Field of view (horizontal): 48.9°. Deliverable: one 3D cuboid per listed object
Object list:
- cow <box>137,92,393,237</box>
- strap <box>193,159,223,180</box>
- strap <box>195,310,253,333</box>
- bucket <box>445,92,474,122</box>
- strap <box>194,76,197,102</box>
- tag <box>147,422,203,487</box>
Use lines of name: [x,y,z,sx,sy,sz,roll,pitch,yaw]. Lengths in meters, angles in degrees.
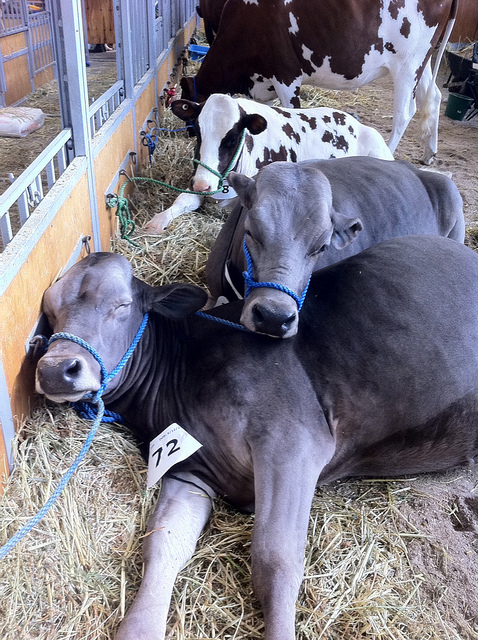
cow: [0.342,-1.437,4.454,0.855,0.994,2.698,27,38,33]
strap: [-0.211,-1.050,3.664,0.246,0.032,0.033,38,10,5]
strap: [-0.052,0.008,1.951,0.208,0.028,0.031,19,29,40]
bucket: [3.180,-3.185,7.806,0.423,0.306,0.393,14,27,-8]
strap: [-0.464,-2.394,5.483,0.035,0.211,0.030,12,25,34]
tag: [-0.212,0.438,1.748,0.175,0.139,0.202,1,39,-7]
